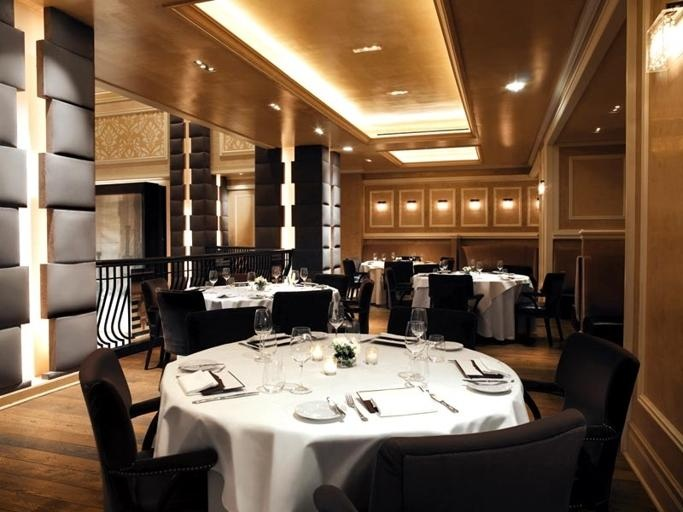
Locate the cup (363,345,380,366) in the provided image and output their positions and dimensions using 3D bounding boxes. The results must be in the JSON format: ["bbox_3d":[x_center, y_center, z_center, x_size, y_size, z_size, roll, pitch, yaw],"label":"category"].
[{"bbox_3d":[0.164,0.535,2.726,0.080,0.090,0.077,-1,4,0],"label":"cup"}]

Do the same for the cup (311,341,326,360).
[{"bbox_3d":[-0.119,0.514,2.701,0.086,0.098,0.085,0,5,0],"label":"cup"}]

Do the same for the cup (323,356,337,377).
[{"bbox_3d":[-0.055,0.572,2.596,0.080,0.090,0.077,0,3,0],"label":"cup"}]
